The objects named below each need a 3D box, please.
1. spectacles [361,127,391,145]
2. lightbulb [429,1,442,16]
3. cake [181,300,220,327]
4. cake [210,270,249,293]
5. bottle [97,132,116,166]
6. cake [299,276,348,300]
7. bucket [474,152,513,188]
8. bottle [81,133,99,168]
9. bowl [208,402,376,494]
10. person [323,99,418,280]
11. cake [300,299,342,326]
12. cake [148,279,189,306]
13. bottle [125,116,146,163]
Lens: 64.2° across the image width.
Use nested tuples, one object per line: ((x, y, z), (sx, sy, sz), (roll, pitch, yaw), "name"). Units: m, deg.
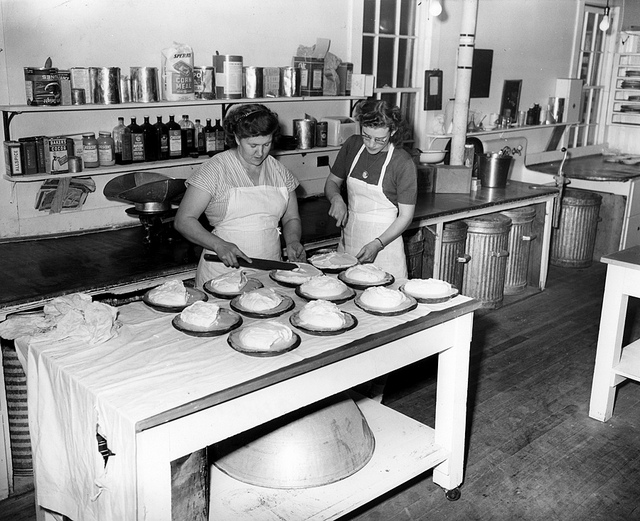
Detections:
((0.320, -0.691, 2.901), (0.165, 0.070, 0.117), (-1, 20, 6), "spectacles")
((1.069, -2.346, 4.746), (0.092, 0.128, 0.267), (1, 20, 11), "lightbulb")
((-0.473, 0.215, 2.026), (0.149, 0.047, 0.155), (2, 20, 11), "cake")
((-0.406, 0.100, 2.360), (0.113, 0.034, 0.113), (16, 32, 28), "cake")
((-1.354, -0.704, 3.241), (0.094, 0.200, 0.118), (-4, 20, -4), "bottle")
((0.027, 0.124, 2.313), (0.128, 0.037, 0.124), (-9, 20, -30), "cake")
((1.753, -0.912, 5.200), (0.368, 0.277, 0.342), (0, 16, 0), "bucket")
((-1.426, -0.677, 3.175), (0.085, 0.195, 0.088), (-3, 20, 1), "bottle")
((-0.089, 0.754, 2.179), (0.411, 0.117, 0.441), (-1, 12, 0), "bowl")
((0.289, -0.475, 3.171), (0.436, 0.993, 0.658), (-12, 22, -24), "person")
((0.004, 0.216, 2.106), (0.169, 0.075, 0.262), (-3, 20, -1), "cake")
((-0.646, 0.139, 2.208), (0.121, 0.038, 0.126), (2, 20, -9), "cake")
((-1.209, -0.786, 3.349), (0.130, 0.267, 0.194), (-6, 20, -8), "bottle")
